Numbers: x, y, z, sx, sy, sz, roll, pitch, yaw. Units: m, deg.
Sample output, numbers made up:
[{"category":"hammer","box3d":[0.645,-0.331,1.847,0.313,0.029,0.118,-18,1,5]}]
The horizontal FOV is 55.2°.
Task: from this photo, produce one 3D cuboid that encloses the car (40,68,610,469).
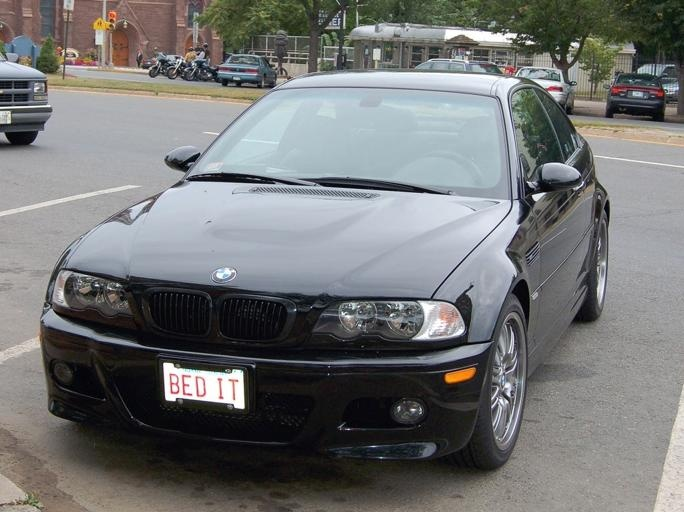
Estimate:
[{"category":"car","box3d":[0.089,-0.094,3.566,2.020,1.852,2.858,13,17,36]}]
